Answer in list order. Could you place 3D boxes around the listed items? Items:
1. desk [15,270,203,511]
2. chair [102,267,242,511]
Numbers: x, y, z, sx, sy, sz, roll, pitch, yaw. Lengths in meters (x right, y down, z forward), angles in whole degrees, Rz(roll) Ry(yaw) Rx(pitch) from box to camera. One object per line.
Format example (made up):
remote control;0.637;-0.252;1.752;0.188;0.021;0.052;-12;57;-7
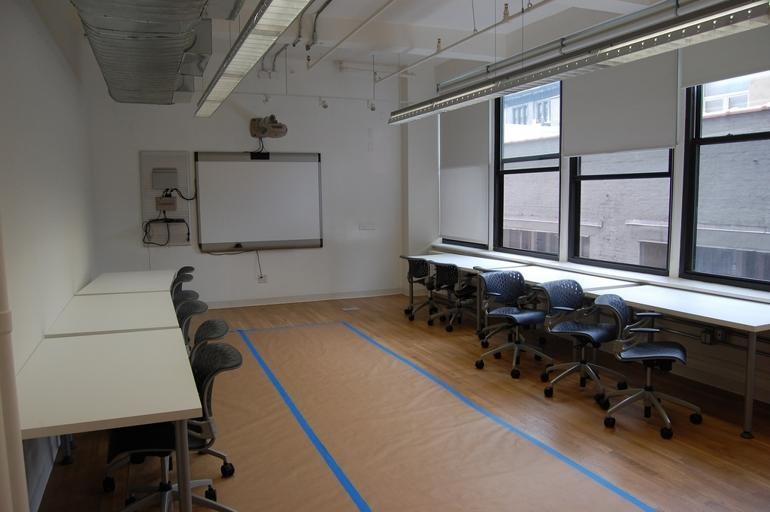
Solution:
desk;-2.144;1.100;3.859;0.476;0.388;1.811;-3;8;-15
chair;-1.801;1.140;4.191;0.621;0.729;1.803;1;7;-16
